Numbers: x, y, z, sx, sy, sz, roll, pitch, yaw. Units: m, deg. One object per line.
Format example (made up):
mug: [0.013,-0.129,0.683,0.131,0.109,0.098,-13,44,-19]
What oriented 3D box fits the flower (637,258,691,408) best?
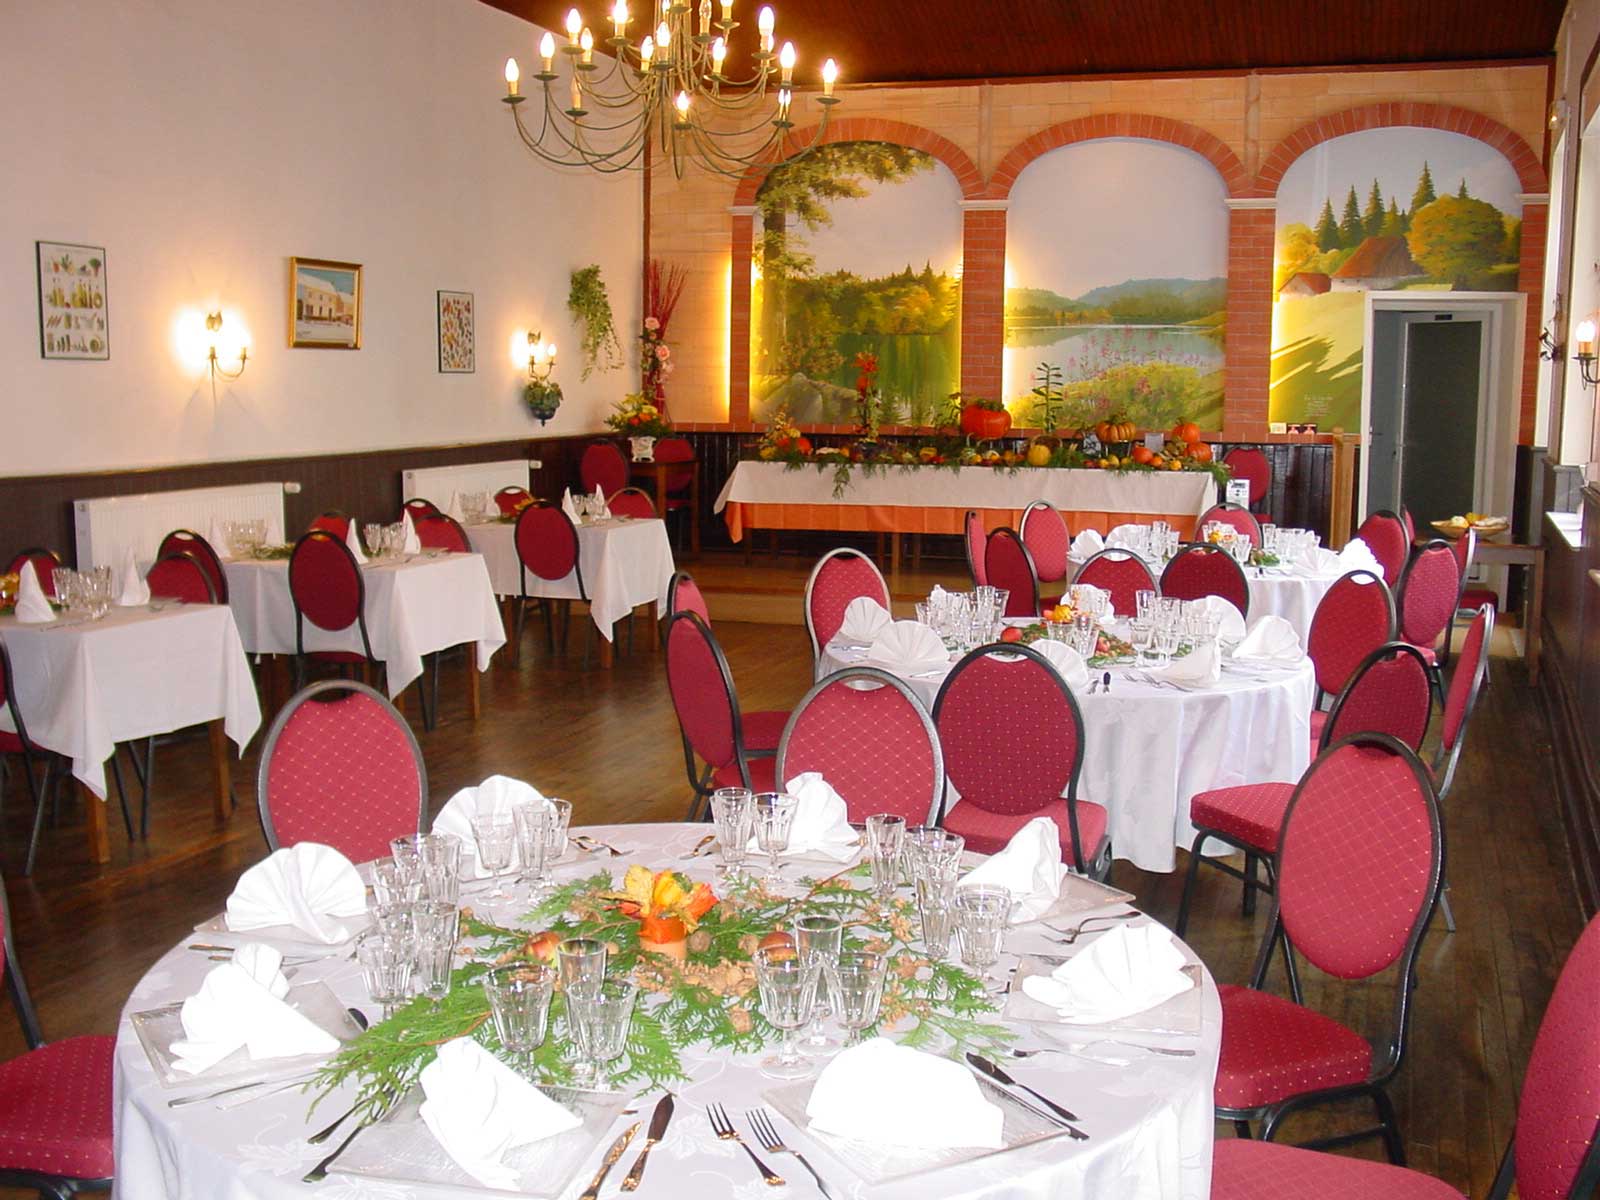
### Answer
flower: [-1.690,-2.859,13.832,0.576,1.619,0.597,6,14,33]

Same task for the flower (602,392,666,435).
flower: [-1.800,-1.840,13.123,0.484,0.385,0.527,1,5,19]

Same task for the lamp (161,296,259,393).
lamp: [-4.178,-1.696,8.500,0.379,0.691,0.608,2,8,24]

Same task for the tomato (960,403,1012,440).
tomato: [1.707,-1.543,11.289,0.336,0.292,0.347,-1,3,-30]

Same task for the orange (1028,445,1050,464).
orange: [2.109,-1.165,10.581,0.146,0.178,0.154,-2,-6,-5]

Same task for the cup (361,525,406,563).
cup: [-2.646,-0.322,7.634,0.216,0.229,0.265,2,6,10]

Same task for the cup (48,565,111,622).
cup: [-3.482,-0.015,5.819,0.222,0.288,0.246,3,8,4]

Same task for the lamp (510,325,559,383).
lamp: [-2.719,-2.331,12.115,0.166,0.573,0.547,3,7,21]

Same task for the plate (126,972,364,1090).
plate: [-1.078,0.782,2.282,0.454,0.077,0.326,-5,13,-13]

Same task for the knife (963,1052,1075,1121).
knife: [0.387,0.846,2.145,0.063,0.055,0.226,-26,35,-32]

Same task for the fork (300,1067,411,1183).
fork: [-0.758,0.870,2.041,0.184,0.029,0.056,-41,59,-18]

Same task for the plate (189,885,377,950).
plate: [-1.168,0.712,2.681,0.412,0.065,0.165,0,13,8]
